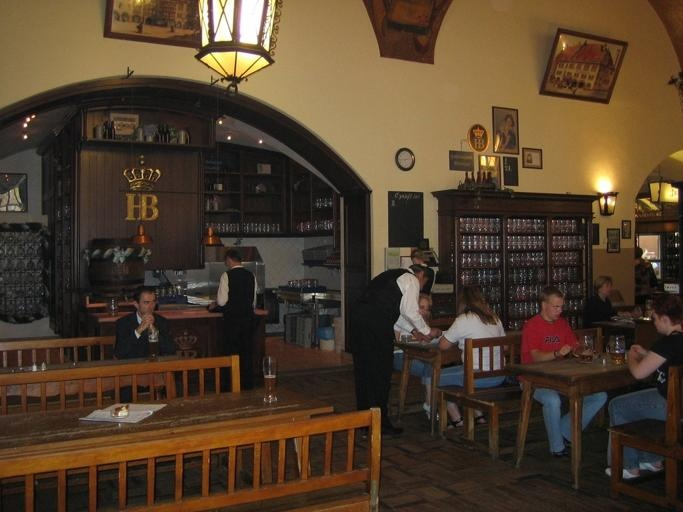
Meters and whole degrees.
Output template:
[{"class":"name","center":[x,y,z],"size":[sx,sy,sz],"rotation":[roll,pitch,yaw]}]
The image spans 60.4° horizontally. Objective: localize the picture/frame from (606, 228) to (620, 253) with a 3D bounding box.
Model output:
[{"class":"picture/frame","center":[5.117,-0.298,11.128],"size":[0.465,0.643,0.048],"rotation":[-1,0,-29]}]

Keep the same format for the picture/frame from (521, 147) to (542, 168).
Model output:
[{"class":"picture/frame","center":[3.314,-1.726,10.327],"size":[0.396,0.337,0.032],"rotation":[0,-2,-27]}]

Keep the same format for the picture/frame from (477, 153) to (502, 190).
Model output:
[{"class":"picture/frame","center":[2.443,-1.402,9.805],"size":[0.691,0.822,0.036],"rotation":[2,-5,-36]}]

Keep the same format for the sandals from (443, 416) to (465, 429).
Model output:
[{"class":"sandals","center":[1.183,1.738,6.102],"size":[0.085,0.103,0.239],"rotation":[-1,0,-7]}]

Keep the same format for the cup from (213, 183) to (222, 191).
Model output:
[{"class":"cup","center":[-2.687,-1.503,12.906],"size":[0.159,0.158,0.151],"rotation":[-1,-4,0]}]

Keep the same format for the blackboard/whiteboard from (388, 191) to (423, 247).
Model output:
[{"class":"blackboard/whiteboard","center":[0.985,-0.571,9.270],"size":[0.865,1.171,0.113],"rotation":[2,-3,-27]}]

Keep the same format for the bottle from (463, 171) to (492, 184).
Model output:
[{"class":"bottle","center":[2.226,-1.285,9.655],"size":[0.267,0.157,0.056],"rotation":[2,-15,-11]}]

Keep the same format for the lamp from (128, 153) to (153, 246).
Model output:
[{"class":"lamp","center":[-3.025,-0.910,8.875],"size":[0.451,1.437,1.955],"rotation":[-2,2,-20]}]

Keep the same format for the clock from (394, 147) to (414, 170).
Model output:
[{"class":"clock","center":[0.981,-1.541,9.292],"size":[0.361,0.361,0.057],"rotation":[4,-6,-31]}]

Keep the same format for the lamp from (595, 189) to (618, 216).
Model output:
[{"class":"lamp","center":[4.998,-0.964,11.019],"size":[0.510,0.459,0.193],"rotation":[-2,2,-33]}]

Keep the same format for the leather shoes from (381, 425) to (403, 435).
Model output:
[{"class":"leather shoes","center":[0.511,1.782,6.024],"size":[0.245,0.101,0.089],"rotation":[1,-1,0]}]

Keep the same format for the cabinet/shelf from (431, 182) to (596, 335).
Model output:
[{"class":"cabinet/shelf","center":[2.567,0.013,9.125],"size":[2.578,2.493,0.605],"rotation":[0,-1,-26]}]

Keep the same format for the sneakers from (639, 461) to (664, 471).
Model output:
[{"class":"sneakers","center":[2.623,1.781,4.986],"size":[0.121,0.045,0.098],"rotation":[0,-6,-7]}]

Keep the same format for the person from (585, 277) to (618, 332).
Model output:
[{"class":"person","center":[3.786,0.744,8.584],"size":[0.444,0.876,0.455],"rotation":[-6,8,-29]}]
